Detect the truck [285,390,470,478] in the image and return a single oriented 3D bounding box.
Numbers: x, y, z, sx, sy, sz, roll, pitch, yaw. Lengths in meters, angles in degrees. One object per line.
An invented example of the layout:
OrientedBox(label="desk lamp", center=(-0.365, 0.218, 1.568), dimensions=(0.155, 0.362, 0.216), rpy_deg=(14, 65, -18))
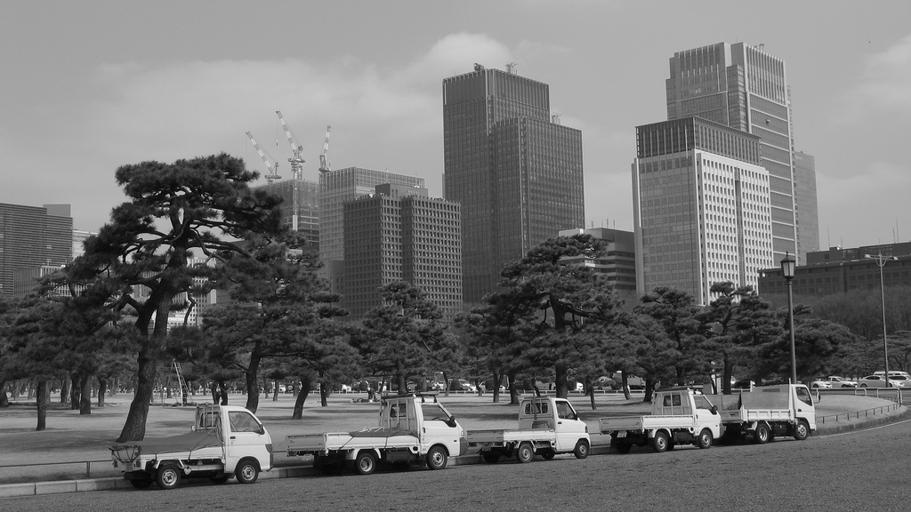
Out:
OrientedBox(label="truck", center=(-4.431, 10.575, 61.172), dimensions=(9.077, 4.053, 4.671), rpy_deg=(2, -7, -33))

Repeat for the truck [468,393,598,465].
OrientedBox(label="truck", center=(4.304, 10.599, 63.340), dimensions=(6.948, 3.282, 3.718), rpy_deg=(1, -5, -33))

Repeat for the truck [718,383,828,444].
OrientedBox(label="truck", center=(20.523, 10.448, 68.205), dimensions=(6.502, 3.911, 2.217), rpy_deg=(4, -15, -19))

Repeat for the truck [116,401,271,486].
OrientedBox(label="truck", center=(-15.077, 10.581, 58.201), dimensions=(7.582, 3.538, 4.391), rpy_deg=(1, -4, -29))

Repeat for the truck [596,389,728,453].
OrientedBox(label="truck", center=(12.961, 10.395, 66.081), dimensions=(7.570, 3.476, 3.741), rpy_deg=(2, -6, -32))
